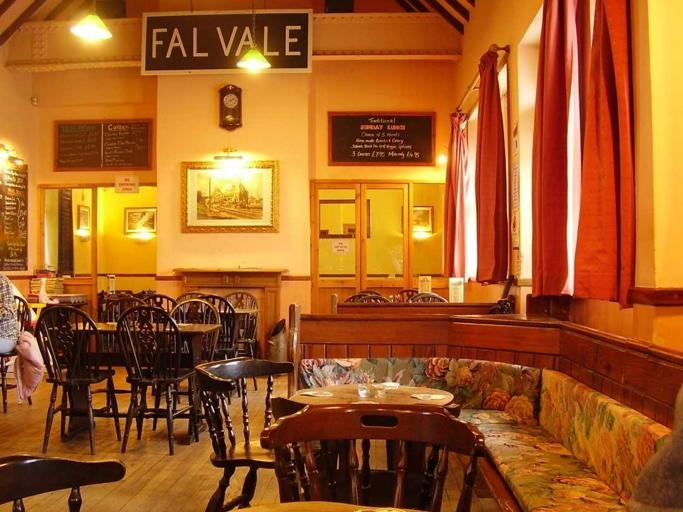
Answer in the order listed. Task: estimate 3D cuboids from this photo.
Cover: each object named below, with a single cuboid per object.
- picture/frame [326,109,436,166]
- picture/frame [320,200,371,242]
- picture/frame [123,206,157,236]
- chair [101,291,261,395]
[{"bbox_3d":[0.599,-1.740,8.350,1.575,0.746,0.040,-3,-1,-1],"label":"picture/frame"},{"bbox_3d":[0.047,-0.498,8.364,0.504,0.779,0.054,-3,0,-5],"label":"picture/frame"},{"bbox_3d":[-4.268,-0.712,11.729,0.615,0.603,0.045,1,1,-4],"label":"picture/frame"},{"bbox_3d":[-1.491,0.820,5.160,1.038,0.585,0.607,0,-4,3],"label":"chair"}]
